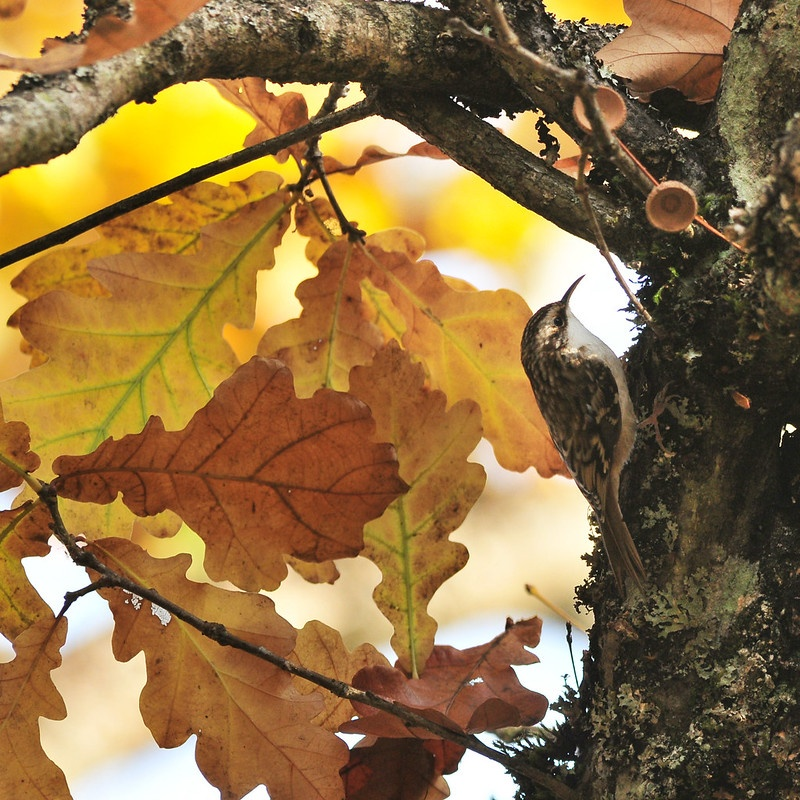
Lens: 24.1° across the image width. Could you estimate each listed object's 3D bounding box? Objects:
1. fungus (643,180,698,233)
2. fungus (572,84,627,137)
[{"bbox_3d":[0.379,-0.282,2.680,0.070,0.062,0.065,-8,-41,-7],"label":"fungus"},{"bbox_3d":[0.273,-0.404,2.626,0.078,0.077,0.028,-1,-12,-15],"label":"fungus"}]
